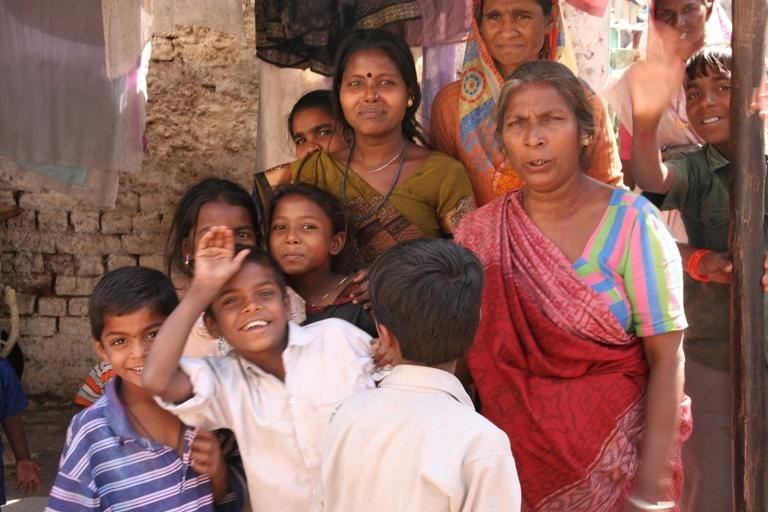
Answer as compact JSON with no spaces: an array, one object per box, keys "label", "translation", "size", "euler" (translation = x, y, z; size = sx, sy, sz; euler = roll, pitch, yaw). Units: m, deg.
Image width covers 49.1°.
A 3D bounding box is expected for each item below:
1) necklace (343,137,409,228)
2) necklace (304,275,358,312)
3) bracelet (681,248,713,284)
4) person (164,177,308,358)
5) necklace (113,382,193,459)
[{"label":"necklace","translation":[-0.001,-0.445,4.839],"size":[0.285,0.491,0.078],"euler":[9,-22,9]},{"label":"necklace","translation":[-0.278,0.229,4.535],"size":[0.213,0.054,0.154],"euler":[-38,36,-9]},{"label":"bracelet","translation":[1.717,0.059,4.614],"size":[0.130,0.163,0.079],"euler":[0,-5,-10]},{"label":"person","translation":[-0.735,0.069,4.309],"size":[0.746,1.070,0.591],"euler":[-10,-6,-21]},{"label":"necklace","translation":[-1.150,0.837,4.172],"size":[0.309,0.419,0.151],"euler":[-33,-7,-30]}]
